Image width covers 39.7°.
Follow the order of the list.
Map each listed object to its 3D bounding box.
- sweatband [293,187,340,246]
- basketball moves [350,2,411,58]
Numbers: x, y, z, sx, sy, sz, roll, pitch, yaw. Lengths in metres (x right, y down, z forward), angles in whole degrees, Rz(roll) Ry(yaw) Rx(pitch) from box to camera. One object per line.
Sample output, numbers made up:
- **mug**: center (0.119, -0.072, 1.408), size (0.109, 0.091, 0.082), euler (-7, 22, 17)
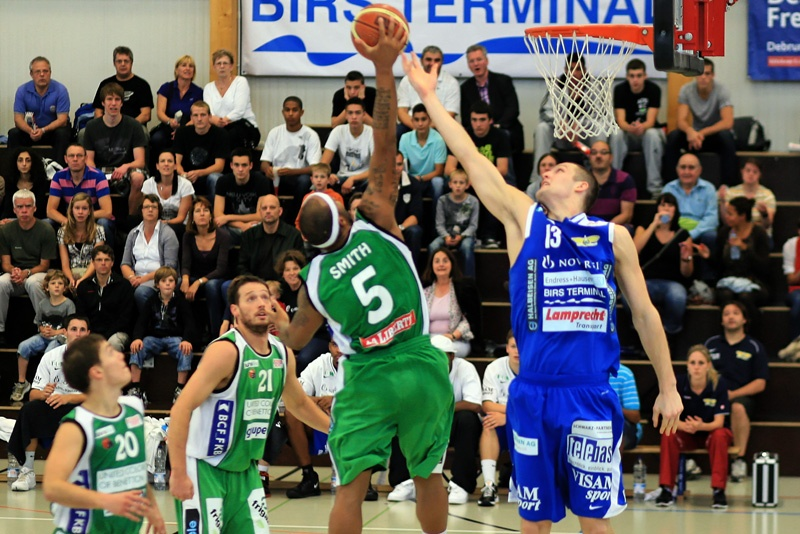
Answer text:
- **sweatband**: center (-0.731, -0.422, 10.117), size (0.371, 0.517, 0.180), euler (-2, 2, 1)
- **basketball moves**: center (-0.210, -2.222, 10.306), size (0.418, 0.472, 0.351), euler (3, -16, 0)
